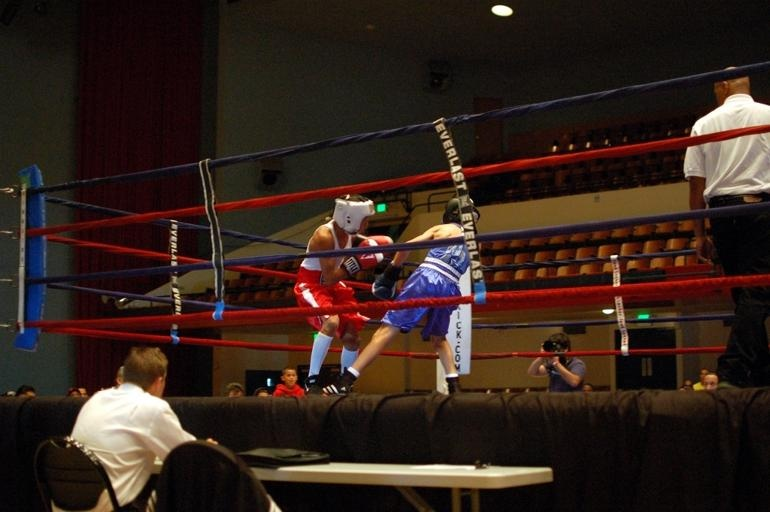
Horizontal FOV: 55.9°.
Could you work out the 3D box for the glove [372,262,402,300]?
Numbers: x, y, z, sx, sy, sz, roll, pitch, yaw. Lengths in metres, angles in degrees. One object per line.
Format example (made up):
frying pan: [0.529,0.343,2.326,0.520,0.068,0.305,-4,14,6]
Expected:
glove: [0.012,0.168,4.529,0.163,0.241,0.347,-1,-9,1]

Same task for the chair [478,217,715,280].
chair: [2.520,-0.060,8.384,3.932,0.636,0.810,-2,-7,40]

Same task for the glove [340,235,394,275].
glove: [-0.107,-0.002,4.605,0.334,0.109,0.240,-18,26,-29]

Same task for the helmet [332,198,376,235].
helmet: [-0.187,-0.244,4.749,0.297,0.217,0.254,7,-1,45]

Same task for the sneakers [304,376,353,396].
sneakers: [-0.361,0.809,4.476,0.371,0.145,0.126,0,-10,41]
